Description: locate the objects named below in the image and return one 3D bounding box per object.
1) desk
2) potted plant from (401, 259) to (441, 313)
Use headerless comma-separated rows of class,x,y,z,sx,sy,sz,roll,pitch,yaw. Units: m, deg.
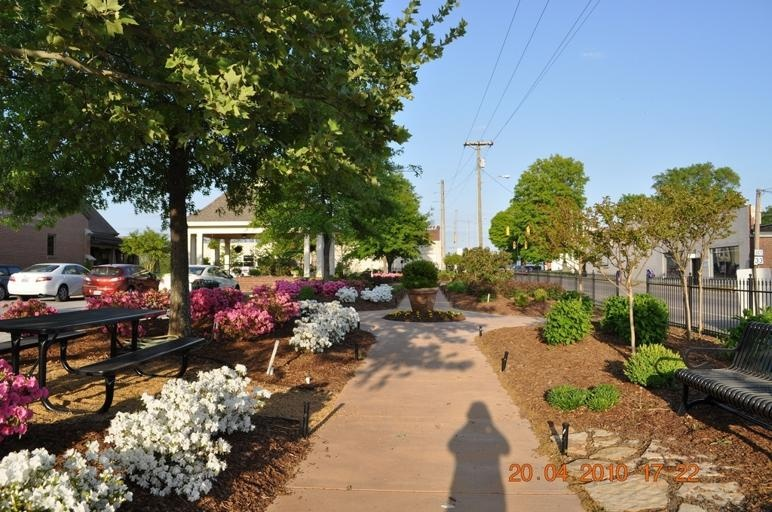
desk,-5.077,1.410,9.606,2.266,1.273,3.117,-1,10,1
potted plant,1.668,1.147,22.190,1.883,2.061,1.648,-1,-5,-2
